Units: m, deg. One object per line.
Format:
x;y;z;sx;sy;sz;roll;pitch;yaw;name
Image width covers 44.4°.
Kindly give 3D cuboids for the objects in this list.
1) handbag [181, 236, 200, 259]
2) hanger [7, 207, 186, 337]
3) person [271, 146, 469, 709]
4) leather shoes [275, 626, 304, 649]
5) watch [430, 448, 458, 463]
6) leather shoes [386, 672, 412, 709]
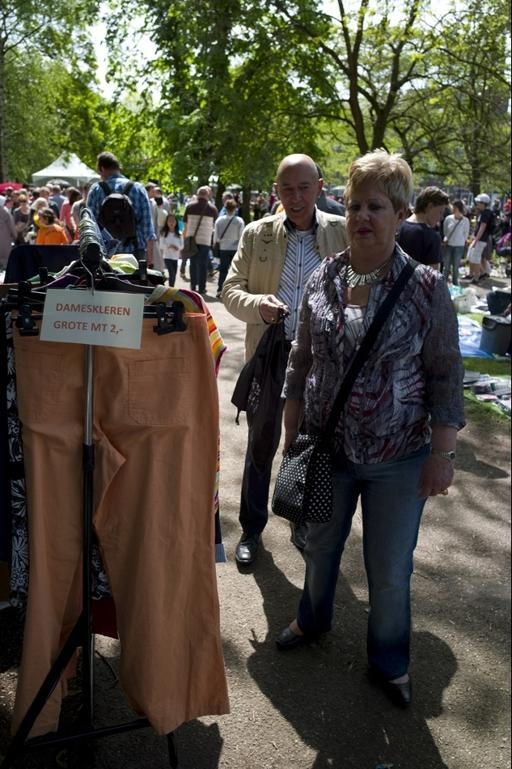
-1.106;-2.314;10.661;0.205;0.386;0.406;4;6;19;handbag
-0.476;-0.297;1.890;0.446;0.322;0.721;1;17;-6;hanger
0.342;0.177;2.110;0.286;1.824;0.680;-7;15;-40;person
0.132;0.987;2.464;0.056;0.042;0.141;-1;-6;31;leather shoes
0.572;0.216;1.906;0.057;0.035;0.058;11;-9;-21;watch
0.493;1.056;2.155;0.046;0.038;0.125;-7;-3;-2;leather shoes
